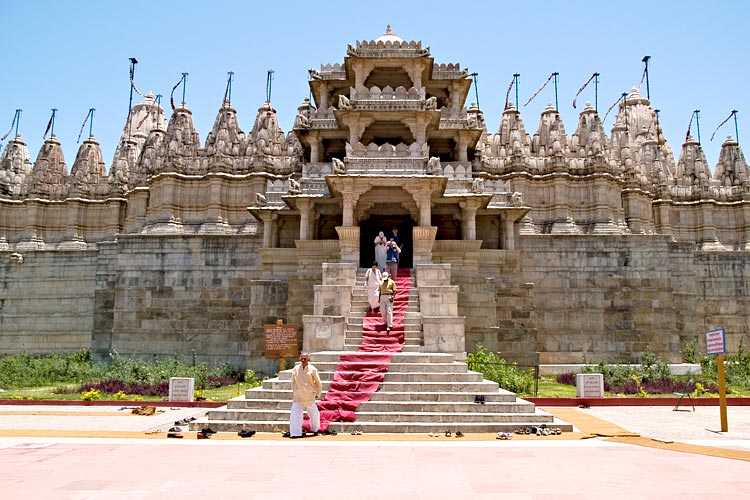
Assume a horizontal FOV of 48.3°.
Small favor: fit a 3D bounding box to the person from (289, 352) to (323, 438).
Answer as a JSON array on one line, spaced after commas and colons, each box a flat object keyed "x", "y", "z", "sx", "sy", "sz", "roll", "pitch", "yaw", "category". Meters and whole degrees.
[{"x": -2.514, "y": 5.258, "z": 30.272, "sx": 1.075, "sy": 2.960, "sz": 1.265, "roll": 1, "pitch": -11, "yaw": -5, "category": "person"}]

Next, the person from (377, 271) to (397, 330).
[{"x": 0.507, "y": 2.225, "z": 36.049, "sx": 0.631, "sy": 2.598, "sz": 0.758, "roll": 0, "pitch": -12, "yaw": 0, "category": "person"}]
